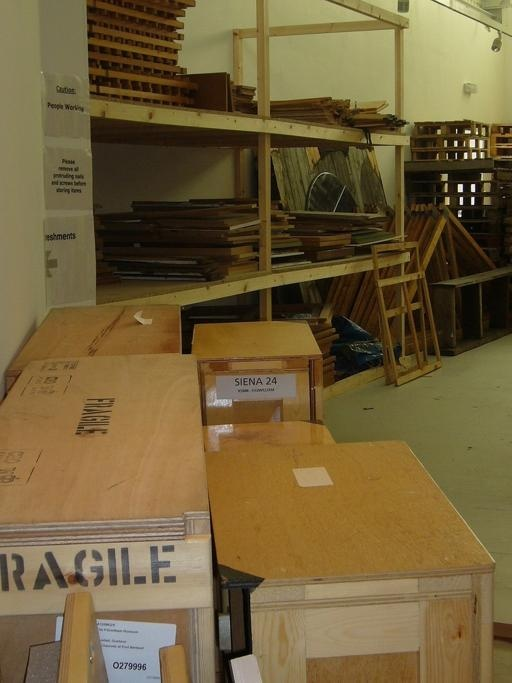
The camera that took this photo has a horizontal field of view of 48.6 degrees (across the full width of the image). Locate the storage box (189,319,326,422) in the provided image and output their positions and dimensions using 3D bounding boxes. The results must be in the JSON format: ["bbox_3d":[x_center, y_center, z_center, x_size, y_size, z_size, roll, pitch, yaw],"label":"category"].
[{"bbox_3d":[-0.004,0.121,2.256,0.487,0.326,0.451,-1,9,-5],"label":"storage box"}]
